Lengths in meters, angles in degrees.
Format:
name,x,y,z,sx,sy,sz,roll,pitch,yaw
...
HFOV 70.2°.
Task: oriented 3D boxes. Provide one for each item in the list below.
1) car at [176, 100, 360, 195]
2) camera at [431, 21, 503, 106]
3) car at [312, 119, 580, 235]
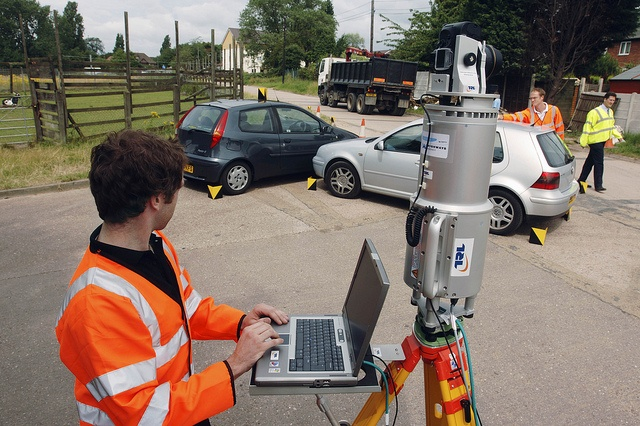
name,x,y,z,sx,sy,sz,roll,pitch,yaw
car,-2.178,-1.721,11.533,3.953,2.066,2.748,-8,14,-37
camera,1.061,-1.124,3.312,0.493,0.488,0.435,4,17,10
car,2.305,-0.687,9.225,4.334,1.791,2.341,14,22,25
